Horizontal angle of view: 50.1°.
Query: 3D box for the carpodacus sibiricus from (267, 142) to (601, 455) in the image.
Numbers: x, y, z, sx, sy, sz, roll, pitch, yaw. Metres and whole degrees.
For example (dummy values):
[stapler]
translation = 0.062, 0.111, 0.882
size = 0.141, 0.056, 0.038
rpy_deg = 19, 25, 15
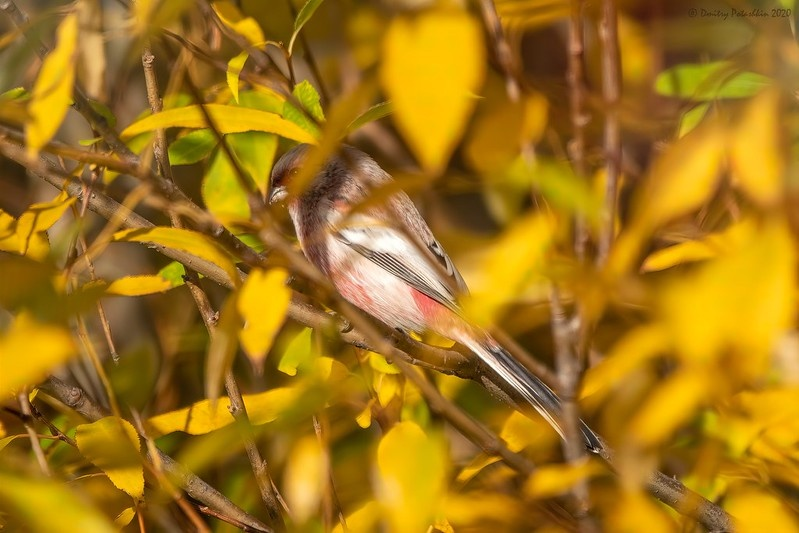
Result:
[carpodacus sibiricus]
translation = 0.104, 0.108, 2.286
size = 1.123, 0.467, 0.268
rpy_deg = 34, 61, 29
